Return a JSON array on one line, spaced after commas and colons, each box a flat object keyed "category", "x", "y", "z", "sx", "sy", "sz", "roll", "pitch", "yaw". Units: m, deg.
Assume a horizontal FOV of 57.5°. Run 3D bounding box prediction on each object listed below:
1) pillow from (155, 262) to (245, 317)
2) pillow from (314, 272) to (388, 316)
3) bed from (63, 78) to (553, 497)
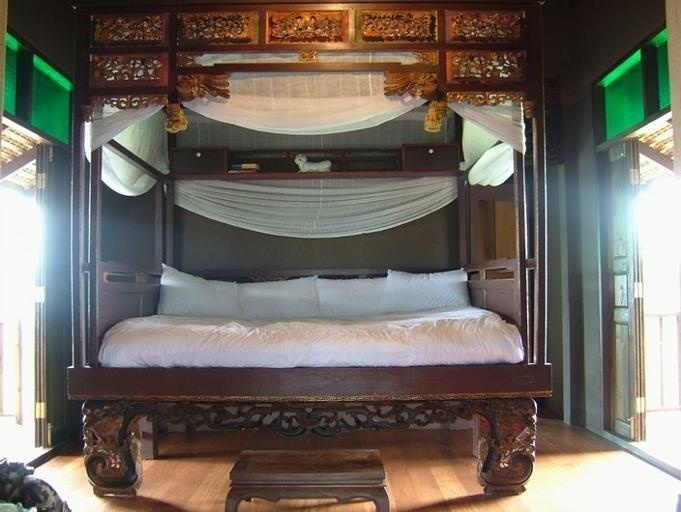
[{"category": "pillow", "x": -1.152, "y": 0.329, "z": 5.177, "sx": 0.727, "sy": 0.215, "sz": 0.419, "roll": 9, "pitch": 84, "yaw": -35}, {"category": "pillow", "x": 0.087, "y": 0.347, "z": 5.190, "sx": 0.602, "sy": 0.094, "sz": 0.377, "roll": -2, "pitch": 98, "yaw": 1}, {"category": "bed", "x": -0.228, "y": 0.295, "z": 5.324, "sx": 3.217, "sy": 3.179, "sz": 2.740, "roll": -1, "pitch": 91, "yaw": -4}]
